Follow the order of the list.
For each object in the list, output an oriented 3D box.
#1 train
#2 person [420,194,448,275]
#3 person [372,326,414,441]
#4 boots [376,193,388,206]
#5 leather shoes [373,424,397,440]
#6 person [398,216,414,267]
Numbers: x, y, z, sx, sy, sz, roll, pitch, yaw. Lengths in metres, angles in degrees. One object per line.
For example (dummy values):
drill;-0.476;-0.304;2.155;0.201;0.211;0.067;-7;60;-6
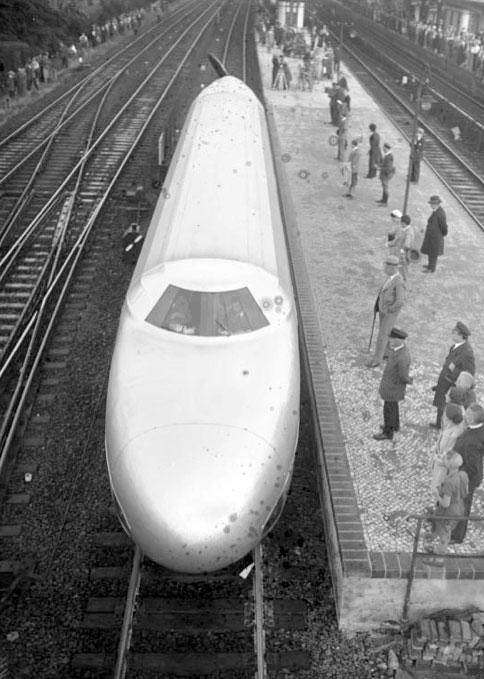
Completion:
train;-0.388;-1.296;7.969;1.394;2.060;9.651;1;41;-2
person;3.856;-2.224;11.244;0.427;1.755;1.440;5;27;17
person;1.813;0.572;6.718;0.321;1.484;0.387;10;27;25
boots;3.817;-3.967;15.118;0.299;0.389;0.224;14;71;6
leather shoes;1.782;1.182;6.958;0.233;0.185;0.091;5;43;5
person;2.997;-1.748;10.259;0.247;1.062;0.870;5;27;16
